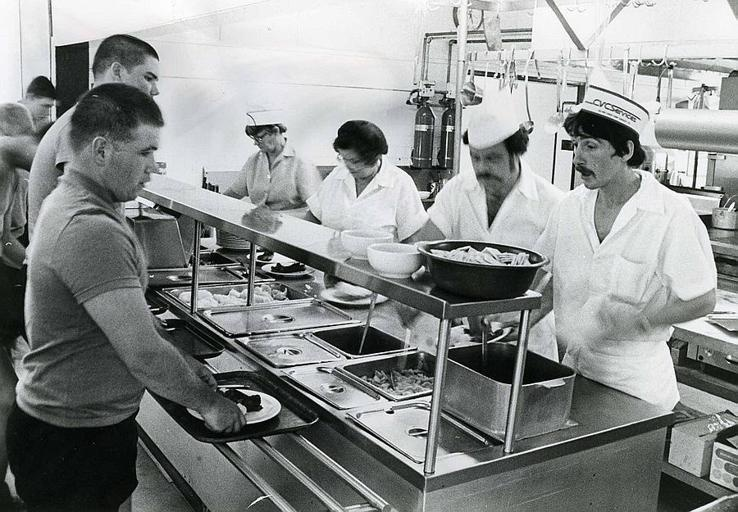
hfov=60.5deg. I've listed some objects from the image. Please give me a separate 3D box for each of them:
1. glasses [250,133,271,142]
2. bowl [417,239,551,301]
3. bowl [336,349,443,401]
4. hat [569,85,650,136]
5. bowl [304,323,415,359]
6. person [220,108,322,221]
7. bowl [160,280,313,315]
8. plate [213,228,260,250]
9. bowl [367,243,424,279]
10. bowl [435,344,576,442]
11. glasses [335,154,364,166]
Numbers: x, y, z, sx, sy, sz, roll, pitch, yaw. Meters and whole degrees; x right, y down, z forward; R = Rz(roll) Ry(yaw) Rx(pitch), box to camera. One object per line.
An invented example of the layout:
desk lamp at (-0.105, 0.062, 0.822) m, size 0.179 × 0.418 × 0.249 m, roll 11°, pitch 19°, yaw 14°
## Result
glasses at (-0.942, -1.028, 5.475) m, size 0.122 × 0.054 × 0.132 m, roll -11°, pitch 1°, yaw -5°
bowl at (0.385, 0.040, 2.183) m, size 0.438 × 0.156 × 0.420 m, roll 1°, pitch 11°, yaw 0°
bowl at (0.113, 0.543, 2.913) m, size 0.304 × 0.089 × 0.258 m, roll -9°, pitch 16°, yaw -32°
hat at (1.066, -0.608, 2.807) m, size 0.253 × 0.091 × 0.206 m, roll 23°, pitch 12°, yaw 4°
bowl at (-0.028, 0.436, 3.220) m, size 0.244 × 0.101 × 0.309 m, roll -4°, pitch 7°, yaw -31°
person at (-0.877, -0.785, 5.376) m, size 1.216 × 0.890 × 0.663 m, roll 6°, pitch 11°, yaw 40°
bowl at (-0.803, 0.241, 3.812) m, size 0.512 × 0.096 × 0.337 m, roll -3°, pitch 9°, yaw -27°
plate at (-1.039, -0.106, 4.708) m, size 0.298 × 0.121 × 0.296 m, roll 3°, pitch 7°, yaw 14°
bowl at (0.066, 0.018, 2.294) m, size 0.199 × 0.096 × 0.200 m, roll -1°, pitch 13°, yaw 0°
bowl at (0.528, 0.516, 2.546) m, size 0.434 × 0.204 × 0.526 m, roll -1°, pitch 10°, yaw -24°
glasses at (-0.105, -0.599, 4.038) m, size 0.104 × 0.063 × 0.135 m, roll 31°, pitch 15°, yaw 29°
